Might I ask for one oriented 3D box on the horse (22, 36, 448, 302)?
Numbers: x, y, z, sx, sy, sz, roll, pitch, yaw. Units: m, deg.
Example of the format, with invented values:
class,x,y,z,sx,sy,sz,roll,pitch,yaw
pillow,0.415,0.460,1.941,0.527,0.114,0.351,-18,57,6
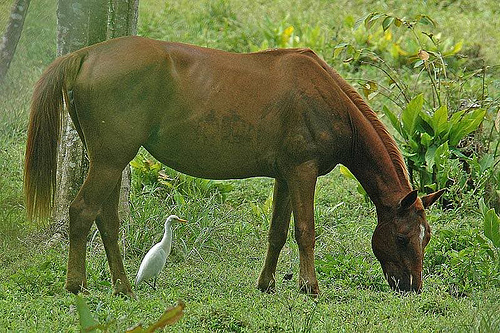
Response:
class,x,y,z,sx,sy,sz,roll,pitch,yaw
horse,-0.147,0.072,8.484,5.261,2.974,1.295,3,0,-15
